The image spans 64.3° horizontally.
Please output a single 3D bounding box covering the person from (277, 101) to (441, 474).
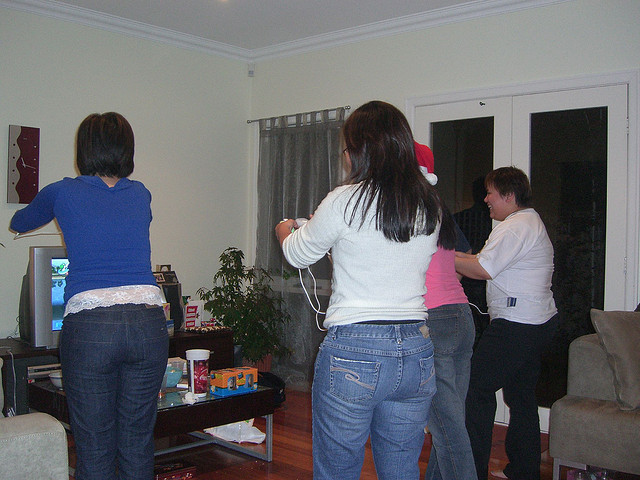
[{"bbox_3d":[0.155,0.156,1.677,0.483,1.228,0.278,-4,4,-17],"label":"person"}]

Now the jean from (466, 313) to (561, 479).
[{"bbox_3d":[1.037,0.885,2.771,0.614,0.923,0.222,-6,4,-34],"label":"jean"}]

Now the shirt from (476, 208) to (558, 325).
[{"bbox_3d":[1.166,0.132,2.947,0.387,0.669,0.698,0,6,33],"label":"shirt"}]

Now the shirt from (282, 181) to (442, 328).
[{"bbox_3d":[0.149,0.018,1.798,0.534,0.563,0.459,13,14,42],"label":"shirt"}]

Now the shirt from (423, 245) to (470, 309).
[{"bbox_3d":[0.540,0.208,2.203,0.200,0.277,0.167,1,-33,15],"label":"shirt"}]

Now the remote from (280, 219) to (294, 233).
[{"bbox_3d":[-0.127,-0.059,1.988,0.012,0.047,0.050,-29,28,21],"label":"remote"}]

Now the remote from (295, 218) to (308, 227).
[{"bbox_3d":[-0.065,-0.074,1.946,0.041,0.033,0.042,-1,4,-26],"label":"remote"}]

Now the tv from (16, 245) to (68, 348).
[{"bbox_3d":[-1.942,0.390,3.588,0.332,0.668,0.460,-3,-2,10],"label":"tv"}]

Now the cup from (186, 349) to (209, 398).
[{"bbox_3d":[-0.743,0.810,3.113,0.120,0.252,0.108,-4,4,-13],"label":"cup"}]

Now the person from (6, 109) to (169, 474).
[{"bbox_3d":[-0.878,0.234,2.041,0.492,1.499,0.309,-4,4,-18],"label":"person"}]
